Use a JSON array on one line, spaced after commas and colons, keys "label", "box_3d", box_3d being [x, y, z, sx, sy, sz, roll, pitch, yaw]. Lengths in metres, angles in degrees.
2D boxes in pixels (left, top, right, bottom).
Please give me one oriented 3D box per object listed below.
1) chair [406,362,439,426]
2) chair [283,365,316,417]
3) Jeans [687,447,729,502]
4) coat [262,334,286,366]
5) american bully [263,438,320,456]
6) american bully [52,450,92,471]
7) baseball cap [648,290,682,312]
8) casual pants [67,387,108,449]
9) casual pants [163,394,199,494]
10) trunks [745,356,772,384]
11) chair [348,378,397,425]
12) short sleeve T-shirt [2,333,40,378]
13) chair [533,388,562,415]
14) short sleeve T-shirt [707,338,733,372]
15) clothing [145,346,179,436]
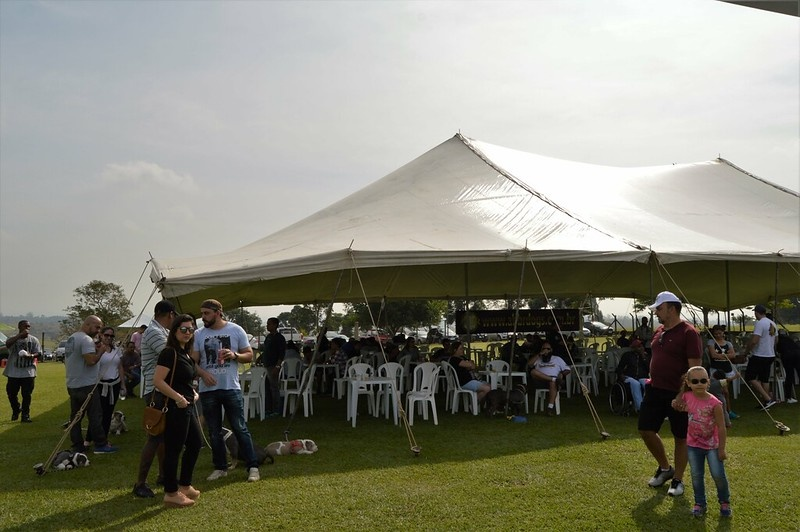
[{"label": "chair", "box_3d": [0.413, 2.278, 11.560, 0.598, 1.057, 1.504, -2, 0, 0]}, {"label": "chair", "box_3d": [-1.981, 2.415, 12.270, 0.588, 0.855, 0.549, -2, -5, 12]}, {"label": "Jeans", "box_3d": [3.282, 2.256, 6.785, 0.349, 0.678, 0.303, -2, 0, 38]}, {"label": "coat", "box_3d": [-2.403, 1.589, 12.092, 0.421, 0.564, 0.382, -2, 0, -10]}, {"label": "american bully", "box_3d": [-1.573, 2.605, 9.185, 0.755, 0.232, 0.268, 5, -13, -16]}, {"label": "american bully", "box_3d": [-4.469, 2.641, 8.616, 0.229, 0.117, 0.315, 10, -1, 43]}, {"label": "baseball cap", "box_3d": [3.075, 0.402, 7.353, 0.359, 0.186, 0.222, 1, -4, 13]}, {"label": "casual pants", "box_3d": [-4.455, 2.126, 8.989, 0.489, 0.939, 0.329, -8, -6, 8]}, {"label": "casual pants", "box_3d": [-2.533, 1.989, 7.365, 0.400, 1.339, 0.364, 11, -31, -42]}, {"label": "trunks", "box_3d": [6.516, 1.877, 11.504, 0.397, 0.520, 0.352, -2, 0, 22]}, {"label": "chair", "box_3d": [-0.469, 2.396, 11.420, 0.954, 0.853, 0.923, 1, -15, -9]}, {"label": "short sleeve T-shirt", "box_3d": [-6.960, 1.692, 11.660, 0.457, 0.619, 0.650, -2, -1, 37]}, {"label": "chair", "box_3d": [2.828, 2.662, 12.388, 0.588, 0.430, 0.569, -1, -12, 0]}, {"label": "short sleeve T-shirt", "box_3d": [5.847, 1.615, 11.584, 0.516, 0.581, 0.335, 2, 0, -13]}, {"label": "clothing", "box_3d": [-2.715, 1.459, 7.195, 0.328, 0.794, 0.247, -2, 0, 7]}]
